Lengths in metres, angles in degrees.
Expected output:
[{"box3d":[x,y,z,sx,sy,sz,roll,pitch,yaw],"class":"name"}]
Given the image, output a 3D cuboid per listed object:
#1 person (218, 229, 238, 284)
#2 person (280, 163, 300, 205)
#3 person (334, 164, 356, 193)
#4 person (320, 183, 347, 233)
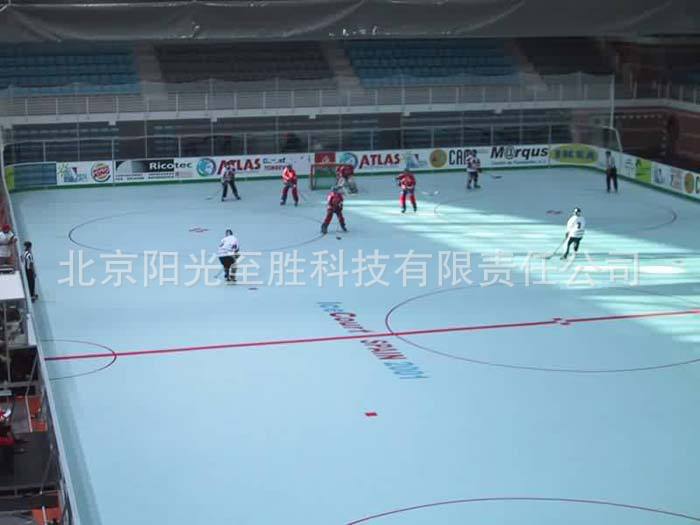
[{"box3d":[-3.557,-0.173,26.979,0.535,1.601,1.394,-3,5,-8],"class":"person"},{"box3d":[-2.492,-3.252,37.594,0.768,1.588,0.655,2,31,1],"class":"person"},{"box3d":[-0.240,-3.561,39.293,0.815,0.906,1.991,20,2,-1],"class":"person"},{"box3d":[-0.547,-1.945,32.400,0.845,1.710,0.561,1,24,-2],"class":"person"}]
